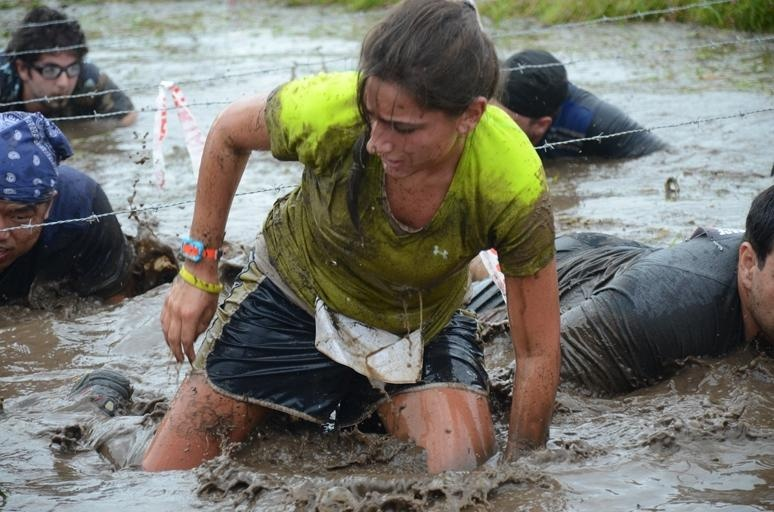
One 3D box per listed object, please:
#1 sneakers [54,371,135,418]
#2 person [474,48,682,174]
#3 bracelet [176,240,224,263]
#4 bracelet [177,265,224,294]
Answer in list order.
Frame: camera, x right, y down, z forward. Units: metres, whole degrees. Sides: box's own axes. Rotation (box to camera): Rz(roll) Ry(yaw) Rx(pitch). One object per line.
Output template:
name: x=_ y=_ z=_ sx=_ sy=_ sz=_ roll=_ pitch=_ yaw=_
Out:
sneakers: x=-1.827 y=0.875 z=7.606 sx=0.348 sy=0.157 sz=0.267 roll=3 pitch=26 yaw=-40
person: x=1.601 y=-1.018 z=10.581 sx=1.397 sy=0.535 sz=0.776 roll=-30 pitch=24 yaw=-8
bracelet: x=-1.119 y=-0.042 z=7.206 sx=0.174 sy=0.156 sz=0.053 roll=12 pitch=15 yaw=-3
bracelet: x=-1.118 y=0.145 z=7.165 sx=0.201 sy=0.044 sz=0.193 roll=26 pitch=-13 yaw=-16
